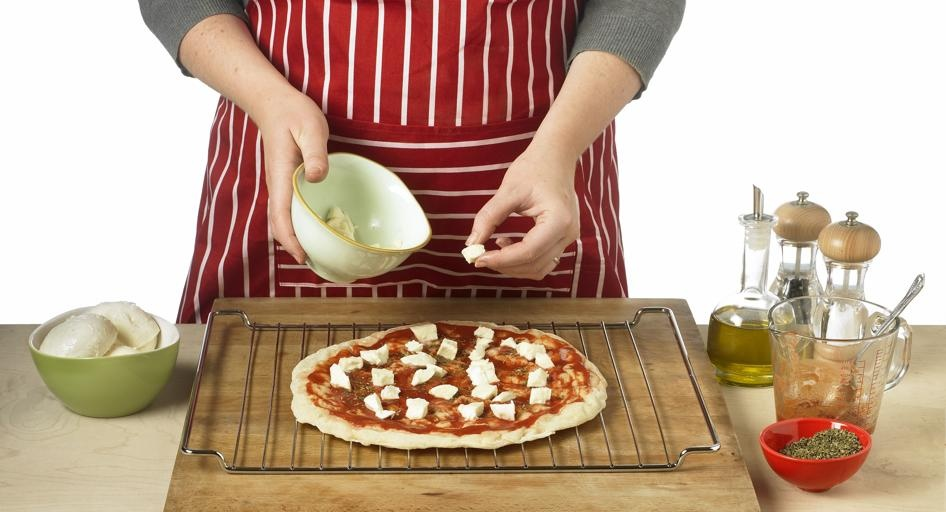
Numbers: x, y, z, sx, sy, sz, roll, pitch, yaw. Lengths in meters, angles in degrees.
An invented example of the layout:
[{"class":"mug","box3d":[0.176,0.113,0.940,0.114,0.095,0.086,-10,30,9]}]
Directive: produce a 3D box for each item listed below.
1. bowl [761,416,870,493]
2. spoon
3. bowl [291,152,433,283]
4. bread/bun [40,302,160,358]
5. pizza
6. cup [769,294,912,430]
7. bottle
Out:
[{"class":"bowl","box3d":[0.828,0.468,1.781,0.255,0.082,0.207,-1,18,2]},{"class":"spoon","box3d":[1.030,0.192,1.917,0.226,0.402,0.202,3,3,27]},{"class":"bowl","box3d":[-0.309,-0.127,2.037,0.524,0.256,0.456,-16,22,-42]},{"class":"bread/bun","box3d":[-0.985,0.205,1.956,0.276,0.111,0.187,1,43,0]},{"class":"pizza","box3d":[-0.071,0.365,2.015,0.854,0.087,0.660,-1,16,-6]},{"class":"cup","box3d":[0.898,0.270,1.917,0.336,0.364,0.321,3,1,0]},{"class":"bottle","box3d":[0.860,0.082,2.074,0.318,0.655,0.252,0,14,5]}]
